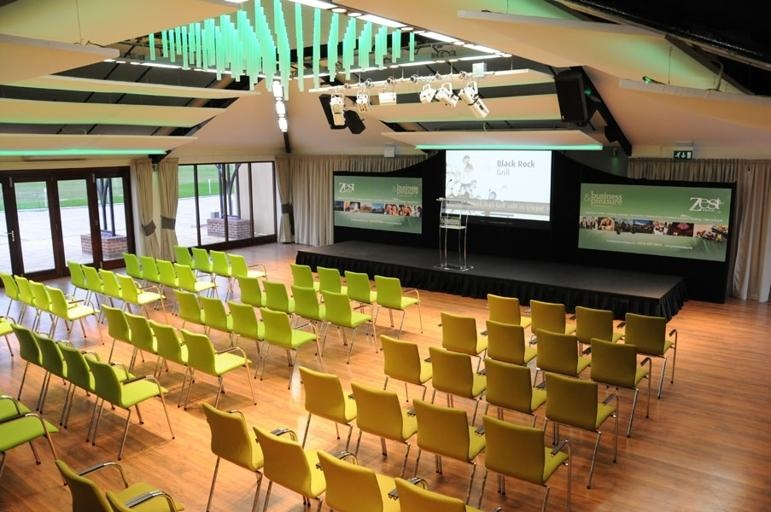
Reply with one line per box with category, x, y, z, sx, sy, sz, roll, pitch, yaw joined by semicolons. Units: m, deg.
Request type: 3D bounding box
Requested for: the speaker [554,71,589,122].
speaker;3.136;-2.898;8.790;0.661;1.009;0.718;8;18;25
